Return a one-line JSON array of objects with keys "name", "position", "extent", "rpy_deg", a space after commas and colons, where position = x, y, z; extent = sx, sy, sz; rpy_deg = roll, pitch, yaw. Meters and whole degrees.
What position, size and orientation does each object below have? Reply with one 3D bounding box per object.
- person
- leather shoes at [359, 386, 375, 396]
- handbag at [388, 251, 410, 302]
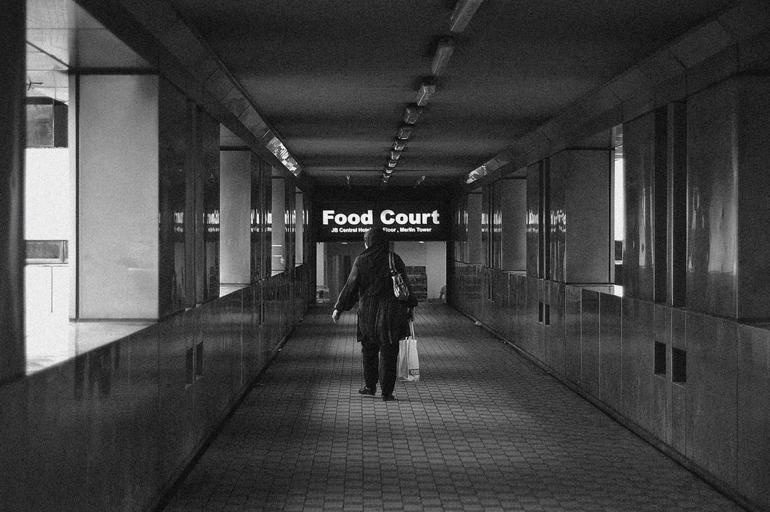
[{"name": "person", "position": [-0.120, 0.690, 6.960], "extent": [0.853, 2.113, 0.687], "rpy_deg": [1, 2, 31]}, {"name": "leather shoes", "position": [-0.237, 1.704, 7.184], "extent": [0.217, 0.100, 0.088], "rpy_deg": [8, -7, 25]}, {"name": "handbag", "position": [0.146, 0.249, 6.826], "extent": [0.261, 0.561, 0.144], "rpy_deg": [0, 2, 11]}]
